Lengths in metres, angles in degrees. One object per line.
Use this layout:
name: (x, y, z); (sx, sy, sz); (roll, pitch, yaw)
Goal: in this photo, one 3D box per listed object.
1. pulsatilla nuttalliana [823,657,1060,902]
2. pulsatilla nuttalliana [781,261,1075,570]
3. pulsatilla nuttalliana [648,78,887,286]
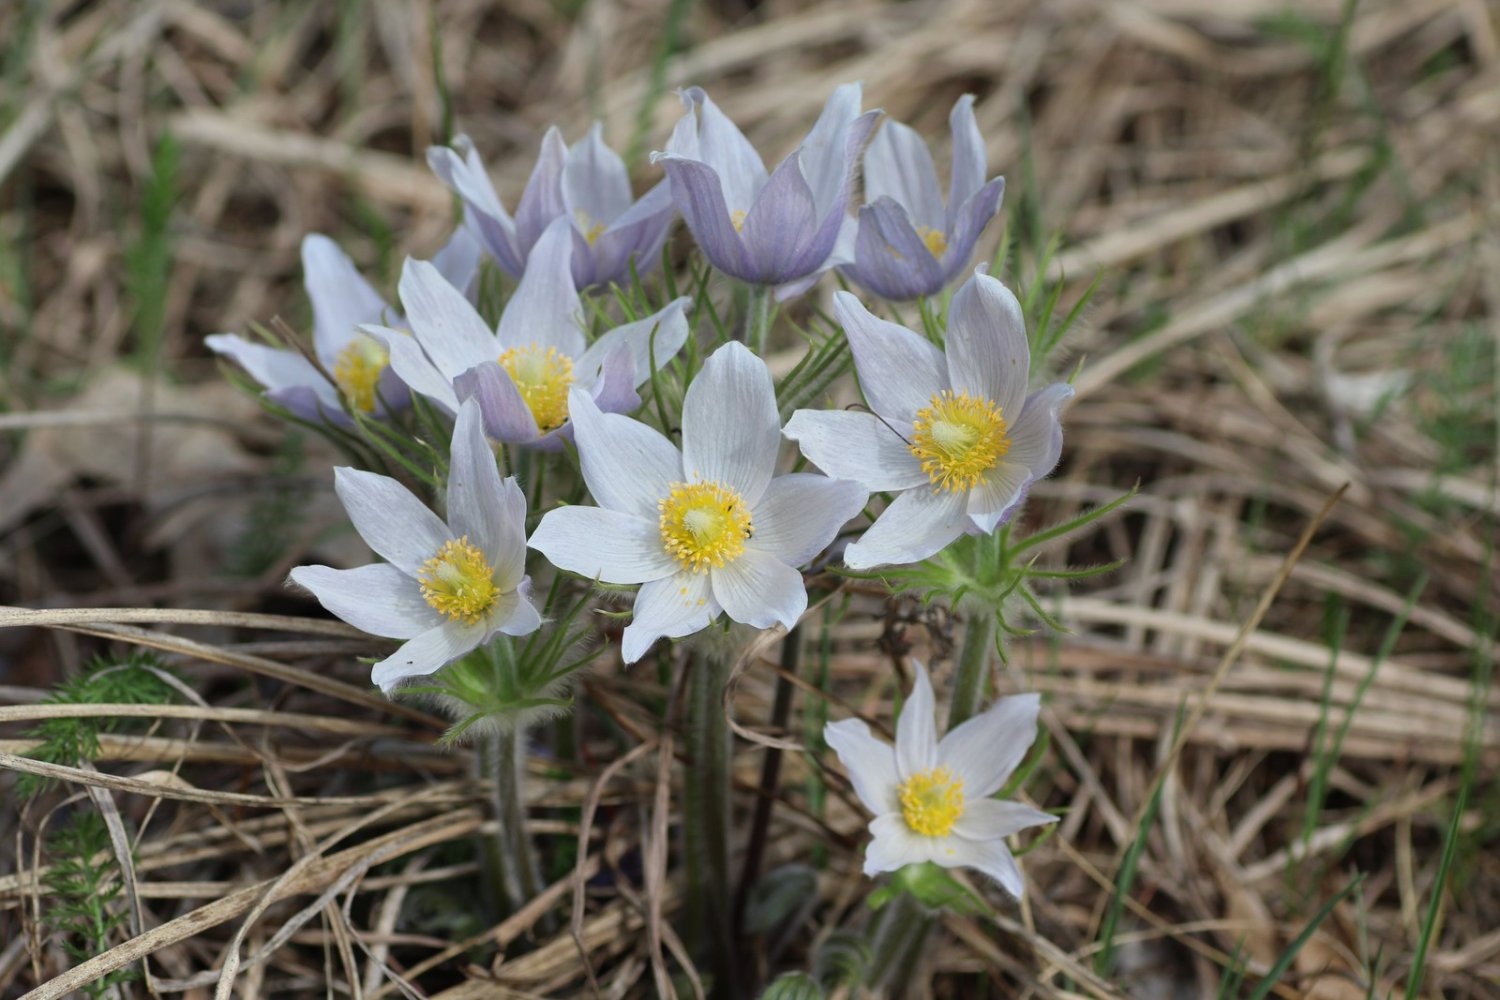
pulsatilla nuttalliana: (0.553, 0.905, 4.523); (0.699, 0.262, 0.695); (16, 58, 2)
pulsatilla nuttalliana: (0.579, -0.204, 4.554); (0.758, 0.398, 0.921); (2, 80, 31)
pulsatilla nuttalliana: (0.049, -0.952, 4.701); (0.667, 0.439, 0.622); (1, 83, 1)
